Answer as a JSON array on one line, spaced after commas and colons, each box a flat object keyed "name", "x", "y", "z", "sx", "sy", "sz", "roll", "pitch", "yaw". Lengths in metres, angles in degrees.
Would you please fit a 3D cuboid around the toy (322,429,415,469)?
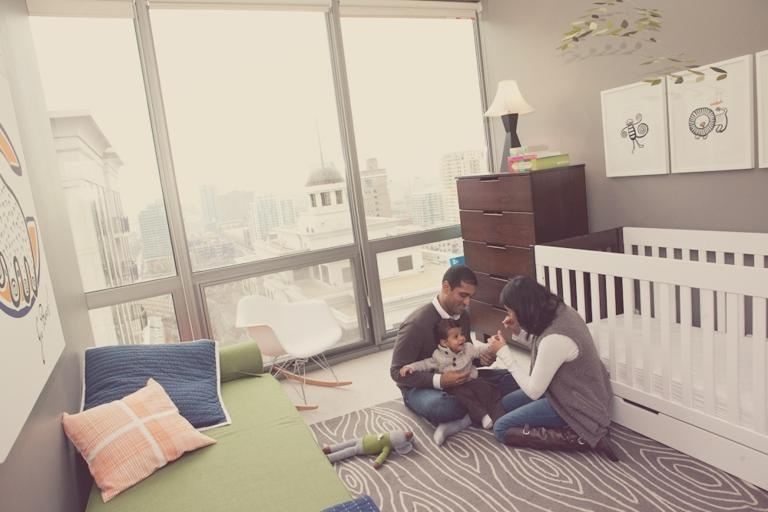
[{"name": "toy", "x": -0.093, "y": 1.217, "z": 3.147, "sx": 0.386, "sy": 0.110, "sz": 0.276, "roll": -11, "pitch": 26, "yaw": 7}]

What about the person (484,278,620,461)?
[{"name": "person", "x": 1.078, "y": 0.695, "z": 3.165, "sx": 0.812, "sy": 1.043, "sz": 0.638, "roll": 2, "pitch": 8, "yaw": 34}]

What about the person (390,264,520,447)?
[{"name": "person", "x": 0.445, "y": 0.590, "z": 3.540, "sx": 0.750, "sy": 1.065, "sz": 0.945, "roll": 10, "pitch": 12, "yaw": 42}]

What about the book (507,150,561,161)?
[{"name": "book", "x": 1.215, "y": -0.812, "z": 3.977, "sx": 0.420, "sy": 0.074, "sz": 0.253, "roll": -4, "pitch": 8, "yaw": 14}]

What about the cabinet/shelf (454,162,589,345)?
[{"name": "cabinet/shelf", "x": 1.293, "y": -0.060, "z": 4.434, "sx": 0.977, "sy": 1.450, "sz": 0.904, "roll": 5, "pitch": 21, "yaw": 45}]

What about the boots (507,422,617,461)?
[{"name": "boots", "x": 1.049, "y": 1.087, "z": 3.075, "sx": 0.687, "sy": 0.205, "sz": 0.208, "roll": 5, "pitch": 37, "yaw": 18}]

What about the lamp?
[{"name": "lamp", "x": 1.123, "y": -1.119, "z": 4.262, "sx": 0.297, "sy": 0.493, "sz": 0.288, "roll": -19, "pitch": 6, "yaw": 4}]

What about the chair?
[{"name": "chair", "x": -0.514, "y": 0.709, "z": 3.940, "sx": 0.613, "sy": 0.569, "sz": 0.673, "roll": -15, "pitch": 3, "yaw": -5}]
